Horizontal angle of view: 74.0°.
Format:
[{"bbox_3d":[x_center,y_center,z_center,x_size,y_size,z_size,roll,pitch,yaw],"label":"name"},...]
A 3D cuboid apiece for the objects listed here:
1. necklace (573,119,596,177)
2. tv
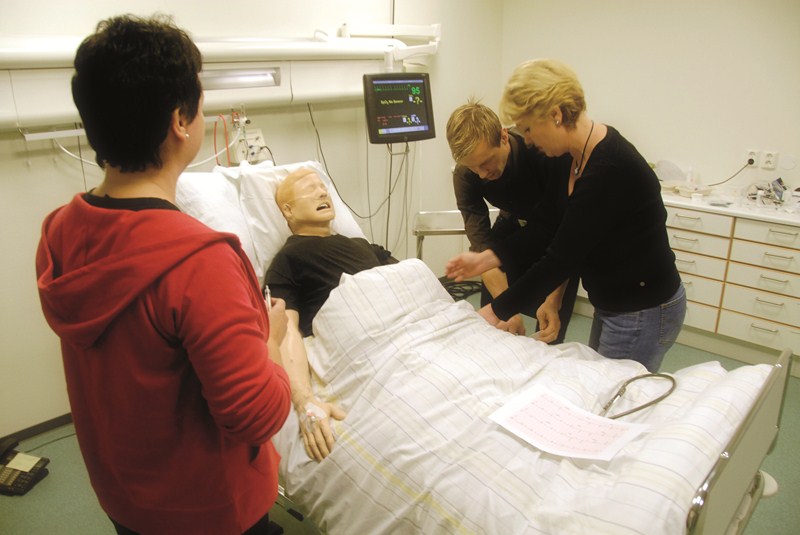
[{"bbox_3d":[0.661,-0.424,1.924,0.039,0.206,0.116,7,25,4],"label":"necklace"},{"bbox_3d":[-0.011,-0.945,3.135,0.597,0.493,0.082,-9,2,-36],"label":"tv"}]
